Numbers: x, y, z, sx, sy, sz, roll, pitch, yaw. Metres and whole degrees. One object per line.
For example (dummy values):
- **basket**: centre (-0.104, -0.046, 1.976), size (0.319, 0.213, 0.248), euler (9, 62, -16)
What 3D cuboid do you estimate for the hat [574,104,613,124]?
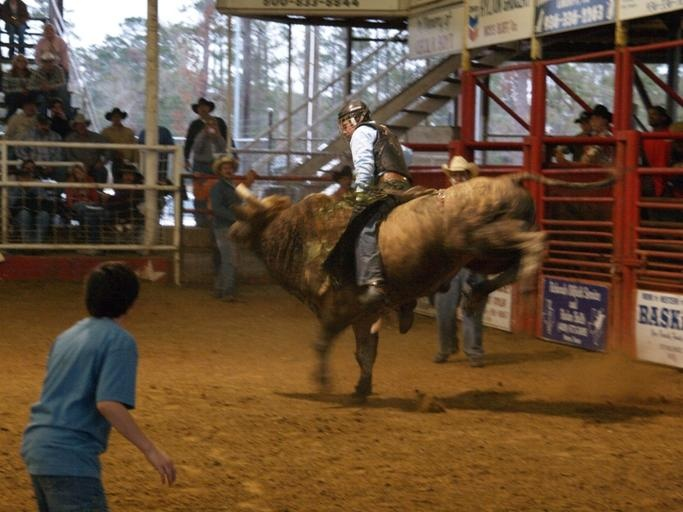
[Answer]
- **hat**: centre (3.409, -1.853, 8.586), size (0.370, 0.127, 0.401), euler (10, -11, 34)

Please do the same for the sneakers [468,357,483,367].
- **sneakers**: centre (1.444, 1.148, 7.035), size (0.151, 0.093, 0.095), euler (-3, -6, 2)

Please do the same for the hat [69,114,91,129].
- **hat**: centre (-4.503, -2.332, 11.248), size (0.382, 0.118, 0.359), euler (-10, -11, 2)

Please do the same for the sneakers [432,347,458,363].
- **sneakers**: centre (1.147, 1.094, 7.187), size (0.356, 0.110, 0.108), euler (-7, 8, -27)

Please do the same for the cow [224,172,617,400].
- **cow**: centre (0.325, 0.294, 5.157), size (2.438, 1.957, 0.623), euler (8, 8, 30)

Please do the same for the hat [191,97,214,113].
- **hat**: centre (-2.597, -2.782, 12.190), size (0.418, 0.131, 0.383), euler (-10, -21, -12)

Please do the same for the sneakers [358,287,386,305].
- **sneakers**: centre (0.225, 0.308, 5.007), size (0.154, 0.056, 0.165), euler (-6, -6, -19)

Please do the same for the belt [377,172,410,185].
- **belt**: centre (0.445, -0.632, 5.389), size (0.184, 0.047, 0.123), euler (5, -1, -29)
